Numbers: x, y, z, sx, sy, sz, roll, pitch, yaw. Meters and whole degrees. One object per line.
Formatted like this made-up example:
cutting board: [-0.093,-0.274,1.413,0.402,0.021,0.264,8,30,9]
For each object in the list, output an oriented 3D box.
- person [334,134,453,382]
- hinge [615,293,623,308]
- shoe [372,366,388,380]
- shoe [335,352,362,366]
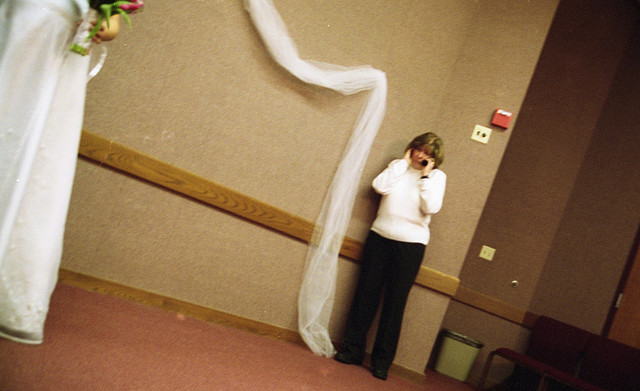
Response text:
person: [0.673,0.499,4.532,0.743,2.316,0.322,16,0,14]
hinge: [3.199,1.114,5.250,0.045,0.156,0.010,16,0,43]
shoe: [0.539,1.579,4.364,0.075,0.060,0.148,8,-13,-9]
shoe: [0.261,1.474,4.486,0.254,0.101,0.093,16,-3,-6]
